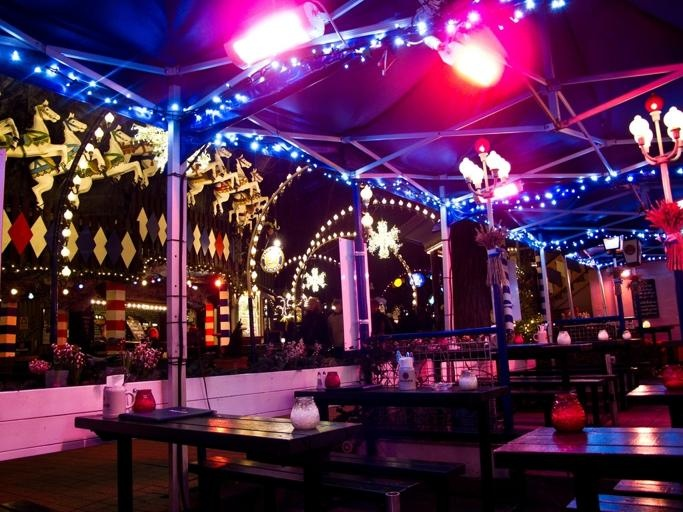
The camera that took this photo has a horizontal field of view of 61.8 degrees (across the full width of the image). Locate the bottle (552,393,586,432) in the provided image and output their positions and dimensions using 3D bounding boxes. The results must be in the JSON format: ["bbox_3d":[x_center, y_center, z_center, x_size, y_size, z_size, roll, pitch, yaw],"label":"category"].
[{"bbox_3d":[1.876,1.289,4.761,0.289,0.310,0.286,-7,-3,14],"label":"bottle"}]

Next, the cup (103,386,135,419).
[{"bbox_3d":[-2.287,1.504,5.904,0.318,0.308,0.204,2,-13,-34],"label":"cup"}]

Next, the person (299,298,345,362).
[{"bbox_3d":[-0.389,1.356,10.862,0.790,1.122,1.231,-2,-10,-1],"label":"person"}]

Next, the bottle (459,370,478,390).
[{"bbox_3d":[1.349,1.337,6.142,0.176,0.176,0.177,1,-9,-24],"label":"bottle"}]

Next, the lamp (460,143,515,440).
[{"bbox_3d":[2.167,0.314,8.023,0.800,3.642,0.918,-18,26,-16],"label":"lamp"}]

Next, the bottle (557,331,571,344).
[{"bbox_3d":[3.294,1.213,8.481,0.182,0.184,0.188,-1,-1,9],"label":"bottle"}]

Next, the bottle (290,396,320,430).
[{"bbox_3d":[-0.318,1.343,4.897,0.272,0.270,0.272,-7,-8,39],"label":"bottle"}]

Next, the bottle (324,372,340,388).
[{"bbox_3d":[-0.130,1.603,7.391,0.175,0.172,0.180,-1,-13,2],"label":"bottle"}]

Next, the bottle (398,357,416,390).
[{"bbox_3d":[0.736,1.333,6.516,0.193,0.375,0.290,-3,-10,4],"label":"bottle"}]

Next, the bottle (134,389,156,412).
[{"bbox_3d":[-2.045,1.489,5.882,0.194,0.204,0.207,-2,-17,0],"label":"bottle"}]
